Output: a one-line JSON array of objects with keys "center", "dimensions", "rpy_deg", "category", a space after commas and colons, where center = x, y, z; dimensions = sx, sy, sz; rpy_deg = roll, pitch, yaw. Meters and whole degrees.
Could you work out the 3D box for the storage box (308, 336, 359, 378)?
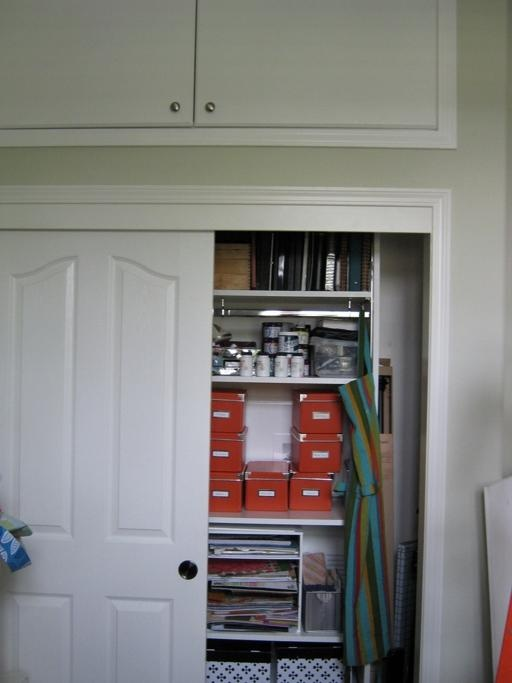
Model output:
[{"center": [0.280, 0.060, 2.467], "dimensions": [0.195, 0.174, 0.134], "rpy_deg": [1, -7, -2], "category": "storage box"}]
